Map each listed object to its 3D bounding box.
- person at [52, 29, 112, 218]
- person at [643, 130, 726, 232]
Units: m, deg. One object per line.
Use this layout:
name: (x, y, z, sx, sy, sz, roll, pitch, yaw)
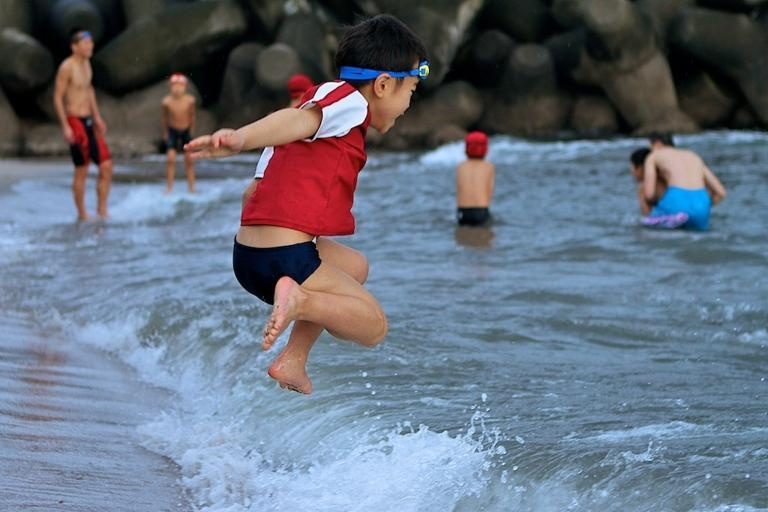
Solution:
person: (-2.983, -1.342, 12.882, 0.455, 1.952, 0.667, -4, 13, -4)
person: (2.970, -0.757, 12.628, 0.752, 0.920, 0.576, 4, 14, 26)
